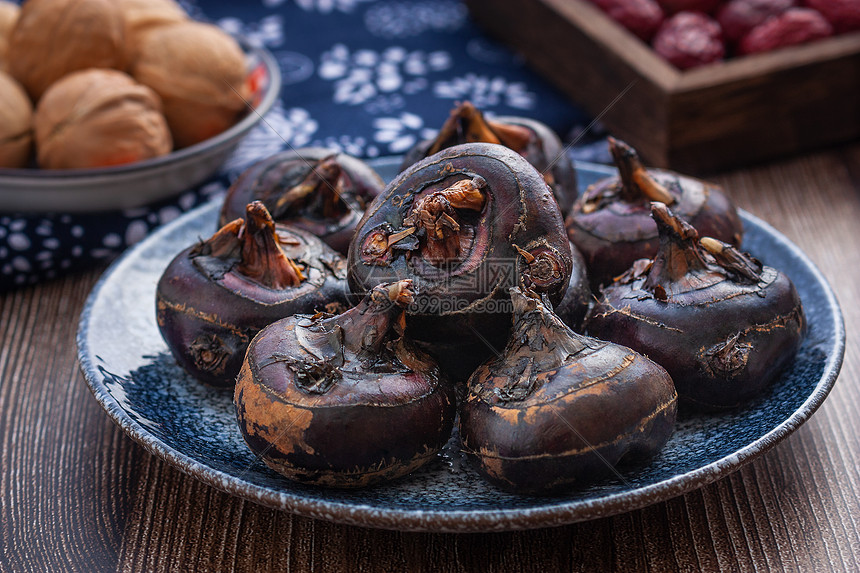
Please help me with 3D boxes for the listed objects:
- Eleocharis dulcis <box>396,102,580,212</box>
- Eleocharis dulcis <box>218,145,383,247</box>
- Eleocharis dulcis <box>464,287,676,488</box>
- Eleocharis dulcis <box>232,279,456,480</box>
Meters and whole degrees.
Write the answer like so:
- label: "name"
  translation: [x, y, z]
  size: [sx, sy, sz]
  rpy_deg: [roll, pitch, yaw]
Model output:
- label: "Eleocharis dulcis"
  translation: [0.174, -0.296, 2.330]
  size: [0.341, 0.210, 0.335]
  rpy_deg: [18, 52, 11]
- label: "Eleocharis dulcis"
  translation: [-0.296, -0.224, 2.147]
  size: [0.288, 0.105, 0.280]
  rpy_deg: [3, 56, -2]
- label: "Eleocharis dulcis"
  translation: [0.258, 0.243, 1.756]
  size: [0.395, 0.168, 0.316]
  rpy_deg: [27, 61, 11]
- label: "Eleocharis dulcis"
  translation: [-0.166, 0.194, 1.764]
  size: [0.423, 0.211, 0.346]
  rpy_deg: [-11, 61, -11]
